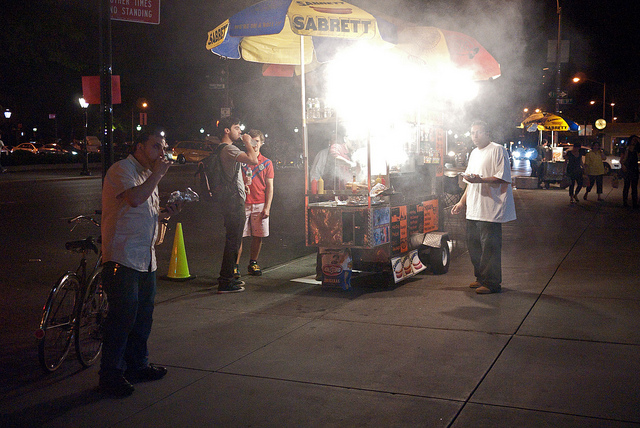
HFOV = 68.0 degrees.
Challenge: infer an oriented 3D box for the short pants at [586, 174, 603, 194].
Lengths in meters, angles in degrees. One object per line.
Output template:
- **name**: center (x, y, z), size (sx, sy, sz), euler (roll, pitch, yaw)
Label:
- **short pants**: center (11.157, -1.265, 19.248), size (0.660, 1.036, 0.358), euler (-6, -18, 32)

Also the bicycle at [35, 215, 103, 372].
- **bicycle**: center (-2.793, 0.865, 5.306), size (0.666, 1.616, 0.909), euler (-3, 6, -26)

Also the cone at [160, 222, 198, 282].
- **cone**: center (-2.545, 0.683, 8.876), size (0.844, 1.249, 0.876), euler (1, 9, 0)

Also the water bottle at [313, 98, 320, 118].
- **water bottle**: center (-0.068, -1.896, 8.485), size (0.113, 0.323, 0.053), euler (0, 5, -1)

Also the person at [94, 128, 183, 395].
- **person**: center (-1.905, 0.441, 4.887), size (0.849, 2.632, 0.702), euler (0, 5, 0)

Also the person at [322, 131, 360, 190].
- **person**: center (0.390, -1.021, 8.934), size (0.695, 1.074, 0.352), euler (0, 6, 1)

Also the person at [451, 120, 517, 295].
- **person**: center (2.694, -0.134, 7.580), size (0.768, 2.701, 0.711), euler (3, 6, 29)

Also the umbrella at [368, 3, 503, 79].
- **umbrella**: center (2.045, -3.069, 8.595), size (3.168, 0.907, 0.594), euler (-5, 7, -34)

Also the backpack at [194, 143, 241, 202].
- **backpack**: center (-1.650, -0.693, 7.723), size (0.663, 0.929, 0.302), euler (-1, 6, -12)

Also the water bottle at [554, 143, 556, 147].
- **water bottle**: center (14.798, -4.334, 29.767), size (0.090, 0.140, 1.340), euler (3, 8, 27)

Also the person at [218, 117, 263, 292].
- **person**: center (-1.380, -0.231, 8.091), size (0.626, 2.883, 0.929), euler (-1, 6, -7)
